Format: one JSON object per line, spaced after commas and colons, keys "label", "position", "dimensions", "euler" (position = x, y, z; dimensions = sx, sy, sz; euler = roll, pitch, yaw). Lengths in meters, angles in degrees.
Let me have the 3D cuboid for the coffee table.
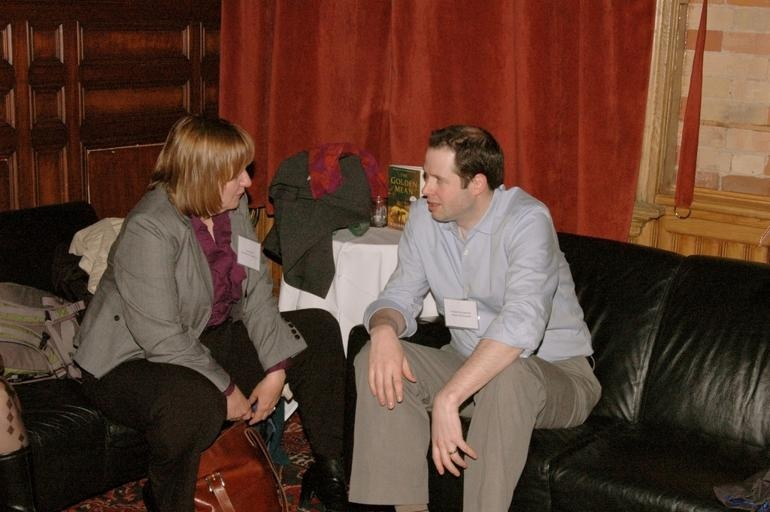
{"label": "coffee table", "position": [-0.240, 0.036, 3.267], "dimensions": [0.565, 0.507, 0.525], "euler": [4, 13, 2]}
